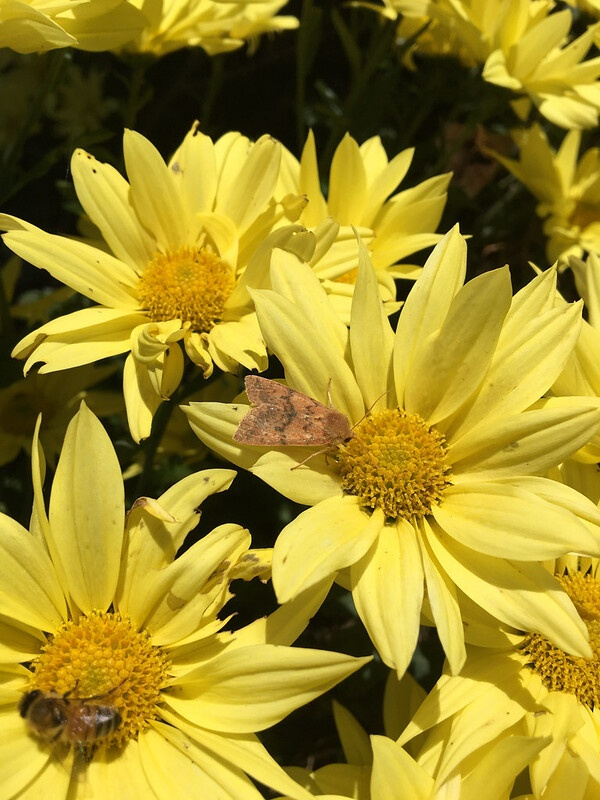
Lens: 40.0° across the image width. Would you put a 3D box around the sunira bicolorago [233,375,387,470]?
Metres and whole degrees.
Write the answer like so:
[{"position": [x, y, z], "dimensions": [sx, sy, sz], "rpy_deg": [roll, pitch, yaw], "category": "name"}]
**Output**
[{"position": [0.018, 0.030, 0.832], "dimensions": [0.186, 0.086, 0.092], "rpy_deg": [-8, 58, -16], "category": "sunira bicolorago"}]
